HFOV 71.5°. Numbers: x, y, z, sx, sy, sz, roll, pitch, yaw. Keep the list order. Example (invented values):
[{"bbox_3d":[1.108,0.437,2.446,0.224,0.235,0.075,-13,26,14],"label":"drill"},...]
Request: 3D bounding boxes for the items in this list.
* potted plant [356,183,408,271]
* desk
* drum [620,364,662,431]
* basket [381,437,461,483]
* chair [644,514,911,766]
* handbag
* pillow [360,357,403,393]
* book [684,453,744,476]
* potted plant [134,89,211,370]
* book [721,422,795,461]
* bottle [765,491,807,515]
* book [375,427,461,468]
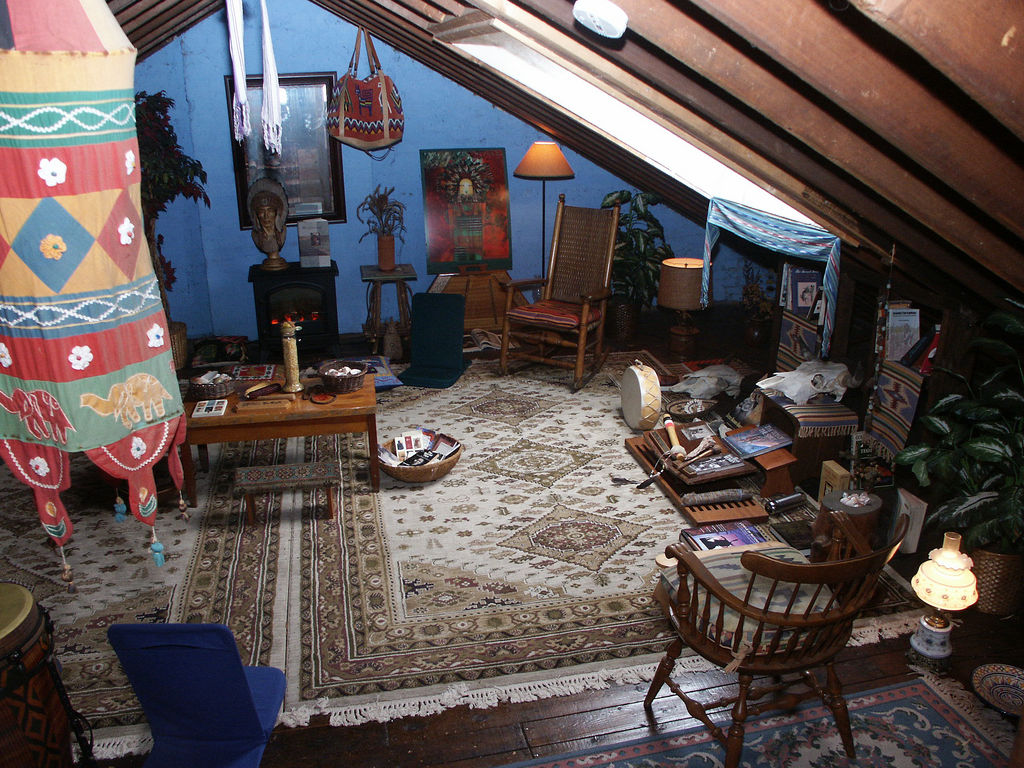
[{"bbox_3d":[-1.218,-1.455,6.560,0.470,0.731,0.662,-3,22,-5],"label":"potted plant"},{"bbox_3d":[-1.697,0.303,4.869,1.261,0.565,1.516,-5,13,-32],"label":"desk"},{"bbox_3d":[0.907,0.112,5.056,0.172,0.394,0.408,-7,28,-15],"label":"drum"},{"bbox_3d":[-0.563,0.488,4.445,0.406,0.101,0.341,-7,24,-13],"label":"basket"},{"bbox_3d":[1.079,1.075,2.855,0.842,0.981,0.734,-10,32,-11],"label":"chair"},{"bbox_3d":[-1.165,-2.267,5.465,0.567,0.867,0.305,-2,24,-1],"label":"handbag"},{"bbox_3d":[-1.044,-0.082,5.722,0.262,0.065,0.358,-4,30,-23],"label":"pillow"},{"bbox_3d":[1.236,0.500,4.326,0.192,0.035,0.169,-8,17,-13],"label":"book"},{"bbox_3d":[-2.825,-1.304,6.036,0.530,2.249,1.014,-8,25,-14],"label":"potted plant"},{"bbox_3d":[1.549,0.356,4.467,0.281,0.051,0.251,-14,25,-16],"label":"book"},{"bbox_3d":[1.587,0.702,4.203,0.342,0.081,0.097,-8,22,-26],"label":"bottle"},{"bbox_3d":[-0.595,0.404,4.578,0.343,0.078,0.271,4,27,5],"label":"book"}]
